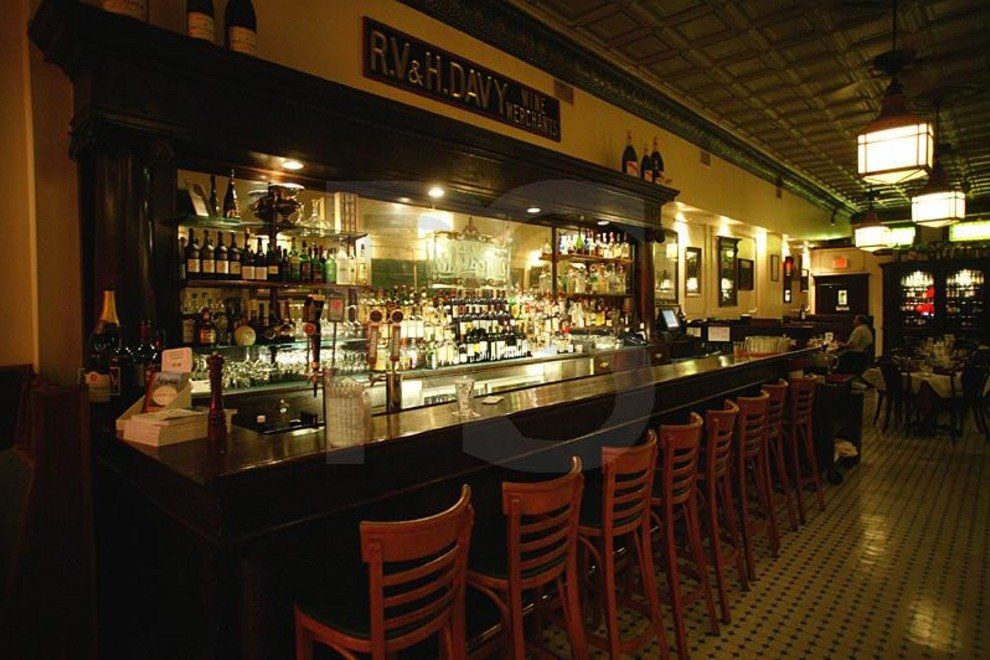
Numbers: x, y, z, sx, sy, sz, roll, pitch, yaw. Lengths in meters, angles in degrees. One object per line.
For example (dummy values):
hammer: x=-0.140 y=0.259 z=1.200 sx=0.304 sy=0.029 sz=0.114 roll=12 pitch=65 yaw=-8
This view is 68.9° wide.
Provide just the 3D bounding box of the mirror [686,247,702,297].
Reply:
mirror: x=3.108 y=-0.918 z=11.359 sx=0.062 sy=0.899 sz=0.775 roll=3 pitch=4 yaw=34

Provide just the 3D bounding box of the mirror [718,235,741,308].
mirror: x=3.962 y=-0.975 z=12.312 sx=0.146 sy=1.176 sz=0.883 roll=0 pitch=4 yaw=35

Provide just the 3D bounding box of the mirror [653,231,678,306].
mirror: x=2.442 y=-0.879 z=10.423 sx=0.085 sy=1.151 sz=0.989 roll=-2 pitch=-10 yaw=29

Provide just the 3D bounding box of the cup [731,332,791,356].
cup: x=2.971 y=0.182 z=8.217 sx=0.504 sy=0.236 sz=0.367 roll=2 pitch=3 yaw=43

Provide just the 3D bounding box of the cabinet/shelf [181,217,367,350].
cabinet/shelf: x=-2.003 y=-0.401 z=6.342 sx=0.387 sy=0.811 sz=1.224 roll=-4 pitch=-2 yaw=43

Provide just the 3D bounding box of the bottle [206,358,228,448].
bottle: x=-1.912 y=0.477 z=4.977 sx=0.129 sy=0.623 sz=0.380 roll=-3 pitch=3 yaw=-22
